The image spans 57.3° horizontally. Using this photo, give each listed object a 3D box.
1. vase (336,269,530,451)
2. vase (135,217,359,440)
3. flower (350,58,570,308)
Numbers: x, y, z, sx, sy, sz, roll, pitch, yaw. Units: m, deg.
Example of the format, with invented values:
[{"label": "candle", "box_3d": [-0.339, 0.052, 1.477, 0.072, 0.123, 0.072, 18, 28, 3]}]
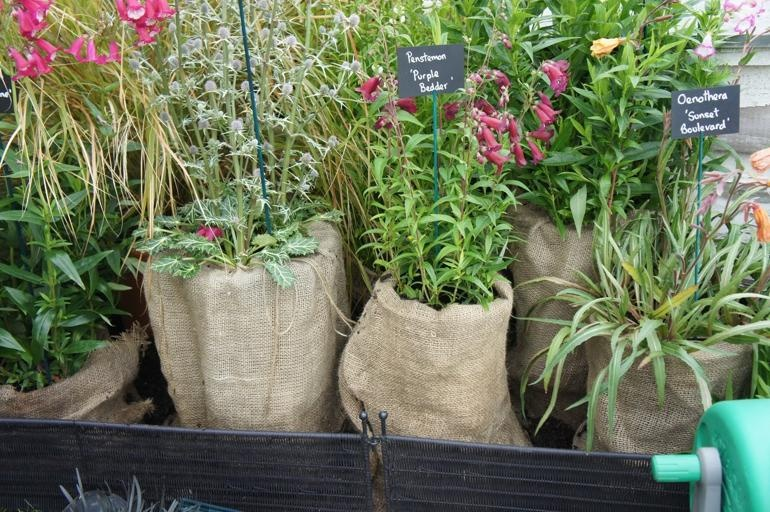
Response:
[{"label": "vase", "box_3d": [0.169, 0.383, 3.024, 0.700, 0.798, 0.568, -1, 19, -1]}, {"label": "vase", "box_3d": [-0.550, 0.321, 3.021, 0.698, 0.851, 0.733, 2, 23, 0]}, {"label": "flower", "box_3d": [0.245, -0.172, 3.067, 0.850, 1.183, 0.937, 8, -2, -30]}]
